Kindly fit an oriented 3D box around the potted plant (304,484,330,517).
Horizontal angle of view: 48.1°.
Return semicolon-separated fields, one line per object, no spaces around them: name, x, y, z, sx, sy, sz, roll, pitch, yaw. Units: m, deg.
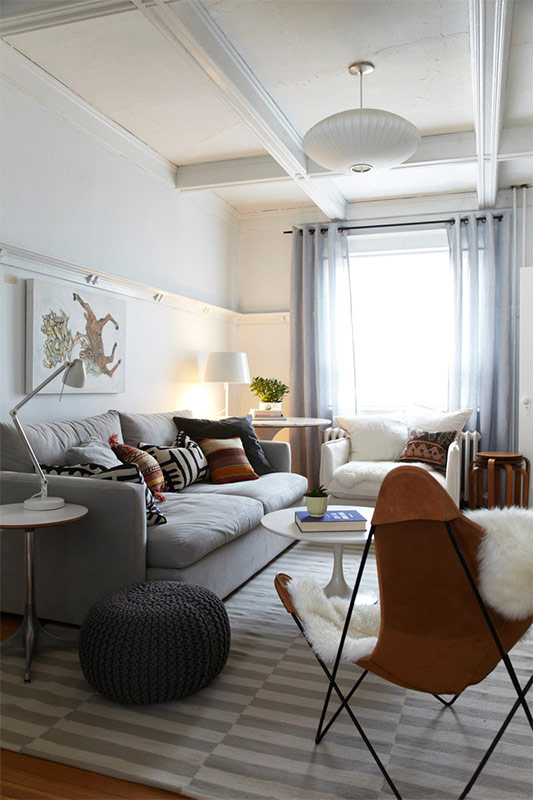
potted plant;0.206;0.393;2.350;0.112;0.145;0.114;0;-7;10

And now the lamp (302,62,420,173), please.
lamp;0.465;-1.304;2.999;0.501;0.269;0.487;1;-1;-40

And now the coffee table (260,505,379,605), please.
coffee table;0.197;0.593;2.391;0.533;0.327;0.534;0;-1;1

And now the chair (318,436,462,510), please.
chair;0.763;0.415;4.242;0.591;0.347;0.575;-17;-2;16

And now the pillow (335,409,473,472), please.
pillow;1.024;0.241;4.587;0.559;0.169;0.569;-1;17;38

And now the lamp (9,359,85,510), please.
lamp;-0.933;0.107;2.479;0.248;0.525;0.911;1;-1;-23

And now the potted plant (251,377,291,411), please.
potted plant;0.022;-0.058;5.080;0.390;0.386;0.274;0;-3;0
